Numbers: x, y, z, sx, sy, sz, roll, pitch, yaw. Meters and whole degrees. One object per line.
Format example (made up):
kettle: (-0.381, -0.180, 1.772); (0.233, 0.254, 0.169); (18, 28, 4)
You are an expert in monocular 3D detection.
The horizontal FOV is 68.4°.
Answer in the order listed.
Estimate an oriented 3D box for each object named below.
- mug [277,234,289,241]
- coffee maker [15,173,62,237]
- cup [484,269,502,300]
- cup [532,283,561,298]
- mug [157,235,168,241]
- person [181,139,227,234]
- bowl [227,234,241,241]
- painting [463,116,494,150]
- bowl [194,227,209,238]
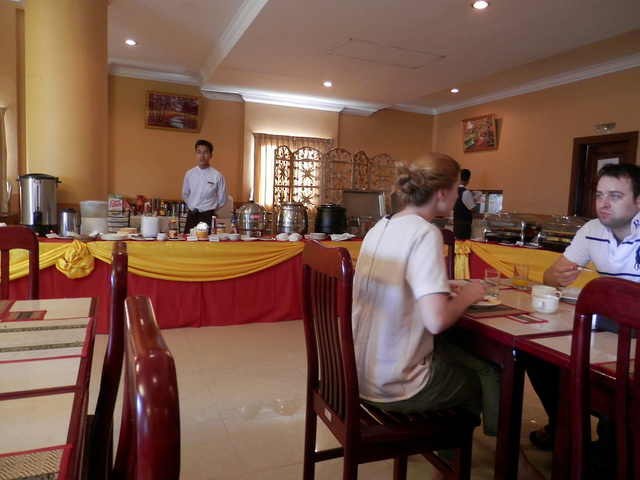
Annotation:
mug: (-0.320, -0.022, 4.156); (0.110, 0.047, 0.076); (-5, 13, -30)
coffee maker: (-2.379, -0.307, 4.009); (0.371, 0.492, 0.342); (-1, 4, -35)
cup: (0.801, 0.212, 2.184); (0.099, 0.138, 0.099); (0, -1, 0)
cup: (0.985, 0.210, 2.062); (0.124, 0.048, 0.083); (0, -1, 2)
mug: (-1.258, -0.021, 3.790); (0.087, 0.043, 0.068); (-6, 13, -33)
person: (-1.390, -0.581, 5.445); (0.539, 1.110, 0.588); (1, 10, 3)
bowl: (-0.741, -0.023, 4.034); (0.097, 0.053, 0.091); (1, 11, 0)
painting: (2.692, -1.787, 7.975); (0.821, 0.580, 0.031); (-16, 15, -28)
bowl: (-1.015, -0.065, 4.045); (0.104, 0.075, 0.145); (-2, 11, -15)
